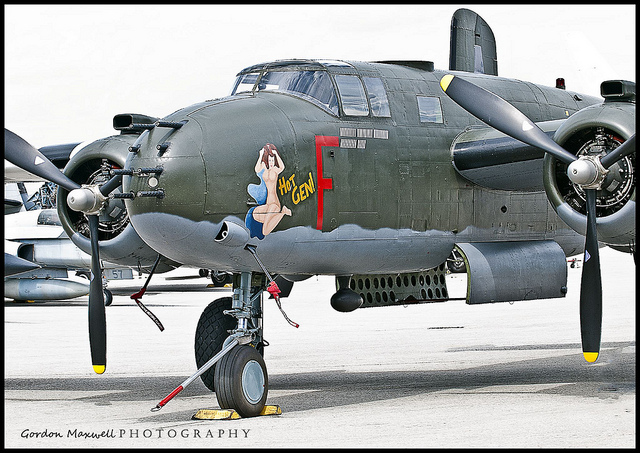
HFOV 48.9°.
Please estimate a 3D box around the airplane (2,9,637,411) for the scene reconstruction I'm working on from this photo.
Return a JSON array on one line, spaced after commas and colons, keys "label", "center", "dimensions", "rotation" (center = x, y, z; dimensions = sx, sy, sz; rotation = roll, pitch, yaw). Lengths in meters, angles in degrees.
[{"label": "airplane", "center": [0.791, -0.264, 11.865], "dimensions": [8.975, 6.047, 4.215], "rotation": [-1, -8, -16]}]
